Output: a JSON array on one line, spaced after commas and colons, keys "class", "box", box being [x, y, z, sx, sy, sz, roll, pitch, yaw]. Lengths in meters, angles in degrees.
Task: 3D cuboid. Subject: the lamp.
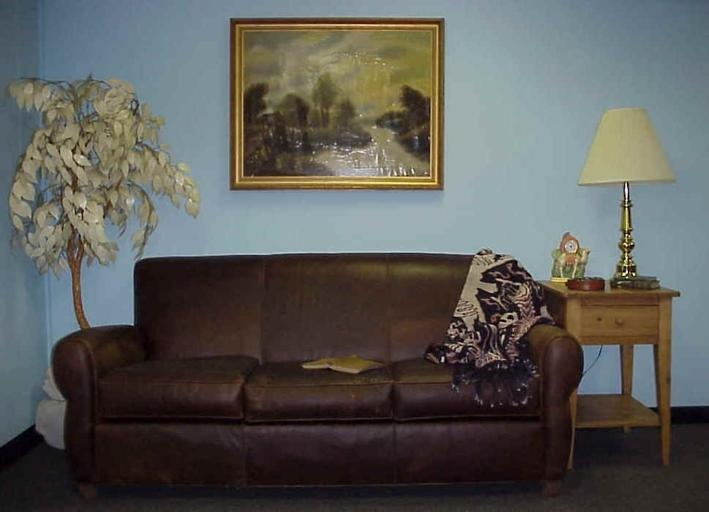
[{"class": "lamp", "box": [1.625, -0.363, 4.276, 0.525, 1.067, 0.378, 4, 8, 22]}]

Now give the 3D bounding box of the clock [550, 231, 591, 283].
[{"class": "clock", "box": [1.319, 0.000, 4.375, 0.251, 0.313, 0.192, 3, 14, 15]}]

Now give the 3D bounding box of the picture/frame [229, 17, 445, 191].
[{"class": "picture/frame", "box": [-0.146, -1.019, 4.540, 1.035, 0.846, 0.049, -1, 2, 2]}]

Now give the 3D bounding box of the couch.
[{"class": "couch", "box": [-0.169, 0.668, 4.165, 2.825, 1.262, 1.006, -1, 5, 0]}]

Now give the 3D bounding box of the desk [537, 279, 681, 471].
[{"class": "desk", "box": [1.508, 0.650, 4.312, 0.722, 0.910, 0.666, 0, 1, 6]}]
